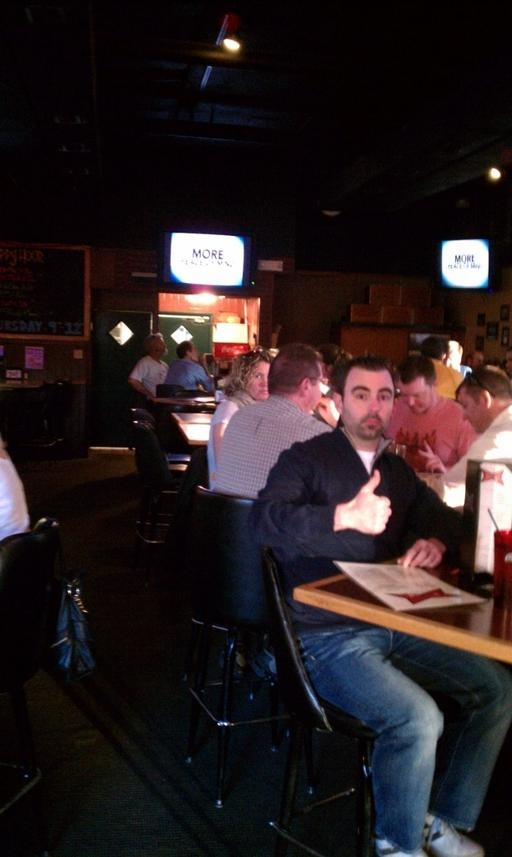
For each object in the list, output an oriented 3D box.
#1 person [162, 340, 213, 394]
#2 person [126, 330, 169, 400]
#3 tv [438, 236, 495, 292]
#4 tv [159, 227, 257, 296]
[{"bbox_3d":[-0.761,-0.727,7.025,0.598,0.443,0.962,3,2,-22],"label":"person"},{"bbox_3d":[-1.459,-0.845,8.070,0.528,1.287,0.679,2,20,-1],"label":"person"},{"bbox_3d":[2.890,-2.242,8.308,0.729,0.749,0.251,4,4,42],"label":"tv"},{"bbox_3d":[-0.700,-1.983,8.287,1.156,0.816,0.663,1,2,-4],"label":"tv"}]
